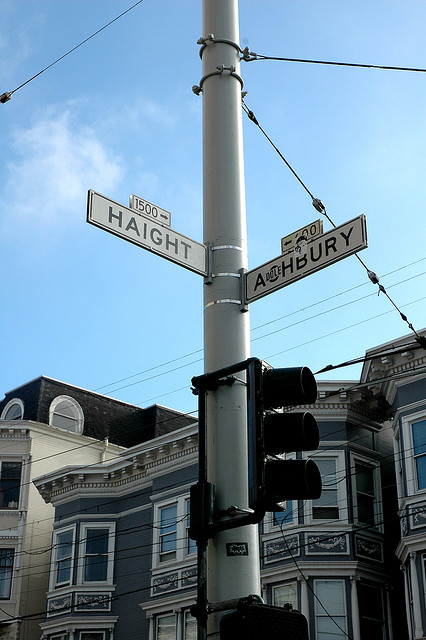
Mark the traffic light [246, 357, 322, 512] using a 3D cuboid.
[{"bbox_3d":[0.395,0.635,6.083,0.411,0.930,0.358,-4,-19,5],"label":"traffic light"}]
